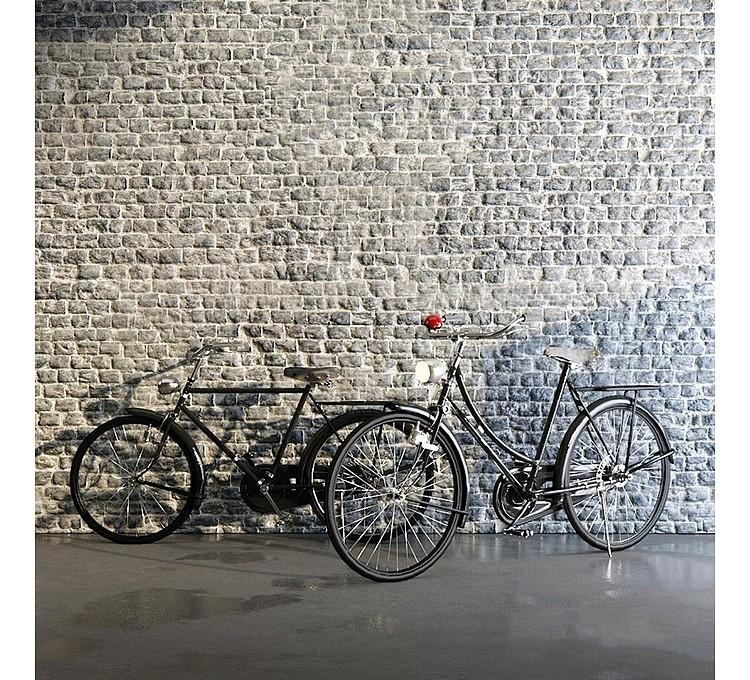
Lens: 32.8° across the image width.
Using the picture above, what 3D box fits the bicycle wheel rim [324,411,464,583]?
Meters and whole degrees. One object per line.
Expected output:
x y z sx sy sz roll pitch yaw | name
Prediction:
0.136 0.752 7.040 0.742 0.928 1.134 0 13 2 | bicycle wheel rim

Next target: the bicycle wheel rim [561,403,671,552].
1.383 0.800 7.337 0.733 0.724 0.171 4 6 -35 | bicycle wheel rim

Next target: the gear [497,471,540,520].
0.760 0.874 6.919 0.214 0.260 0.093 1 14 5 | gear
